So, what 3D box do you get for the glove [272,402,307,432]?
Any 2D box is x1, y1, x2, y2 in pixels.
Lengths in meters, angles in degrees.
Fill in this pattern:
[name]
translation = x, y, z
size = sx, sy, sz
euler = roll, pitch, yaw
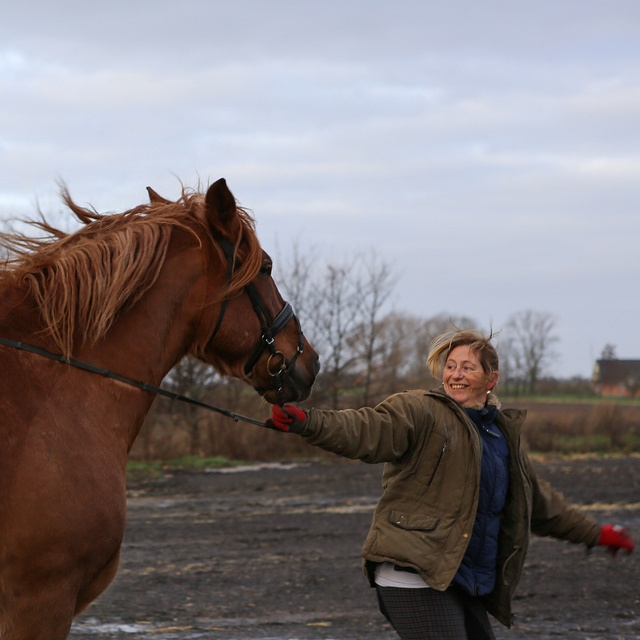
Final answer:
[glove]
translation = -0.197, 0.610, 10.152
size = 0.205, 0.176, 0.147
euler = 30, 5, 13
